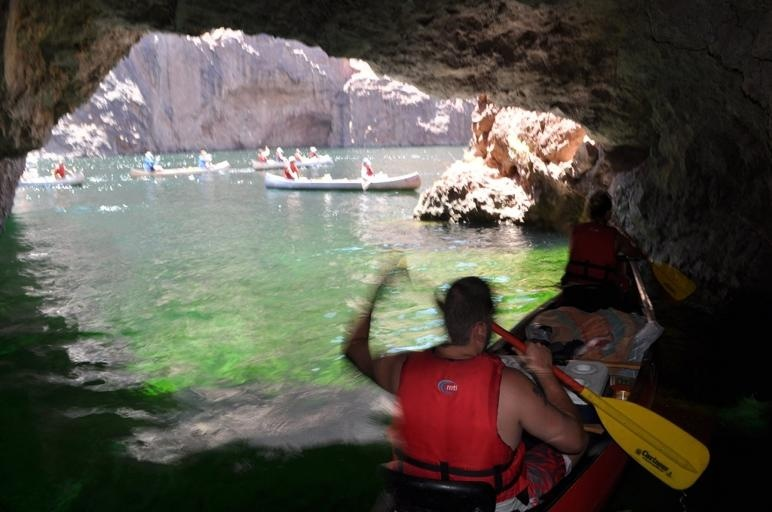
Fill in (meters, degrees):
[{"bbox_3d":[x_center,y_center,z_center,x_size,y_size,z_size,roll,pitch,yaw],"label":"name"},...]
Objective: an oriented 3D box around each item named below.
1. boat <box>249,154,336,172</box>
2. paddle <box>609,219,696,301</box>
[{"bbox_3d":[-5.482,-5.545,30.570,5.967,1.038,1.690,-9,8,-34],"label":"boat"},{"bbox_3d":[3.918,0.105,7.453,0.063,0.336,1.441,37,20,-29],"label":"paddle"}]
